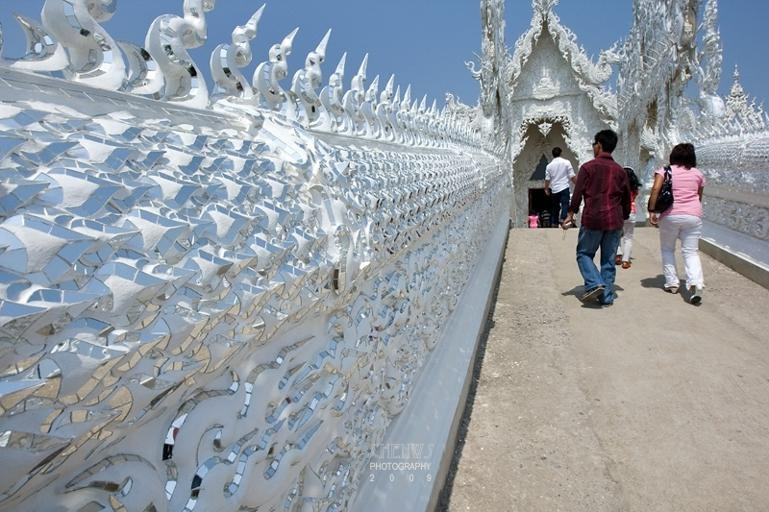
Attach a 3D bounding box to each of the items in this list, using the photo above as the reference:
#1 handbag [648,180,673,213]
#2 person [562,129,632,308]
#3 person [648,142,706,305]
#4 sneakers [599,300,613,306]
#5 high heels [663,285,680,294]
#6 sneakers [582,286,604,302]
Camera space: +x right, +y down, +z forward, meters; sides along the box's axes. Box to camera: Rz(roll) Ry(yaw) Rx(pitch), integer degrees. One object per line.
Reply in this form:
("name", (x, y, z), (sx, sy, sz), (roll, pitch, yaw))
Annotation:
("handbag", (2.491, -0.530, 4.045), (0.169, 0.299, 0.162), (-1, 9, -1))
("person", (1.957, -0.367, 4.123), (0.456, 1.598, 0.608), (8, 13, 44))
("person", (2.634, -0.299, 4.022), (0.436, 1.403, 0.364), (5, 11, 33))
("sneakers", (2.008, 0.421, 4.060), (0.125, 0.056, 0.048), (-1, 20, 31))
("high heels", (2.720, 0.317, 4.221), (0.054, 0.065, 0.141), (-7, -3, 5))
("sneakers", (1.886, 0.348, 4.022), (0.092, 0.089, 0.213), (-33, -16, -19))
